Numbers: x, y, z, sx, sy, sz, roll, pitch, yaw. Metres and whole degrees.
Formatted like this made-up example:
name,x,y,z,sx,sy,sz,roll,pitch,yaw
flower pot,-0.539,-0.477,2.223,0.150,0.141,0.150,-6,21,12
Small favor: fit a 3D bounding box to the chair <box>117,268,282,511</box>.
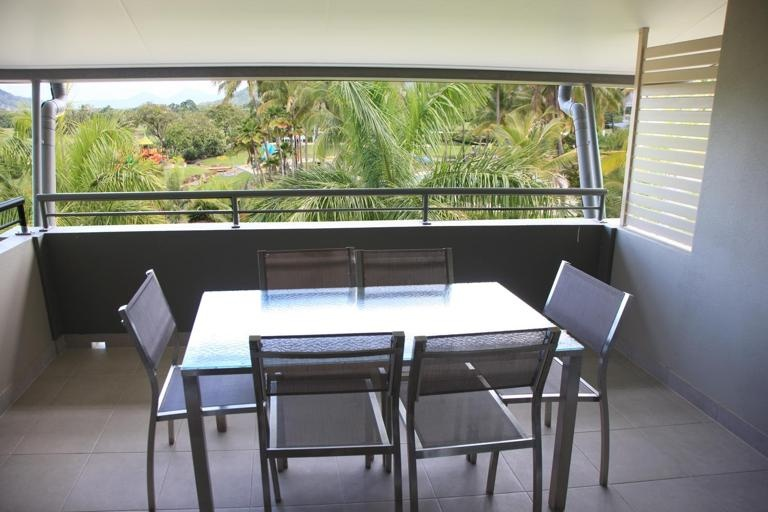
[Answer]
name,x,y,z,sx,sy,sz,roll,pitch,yaw
chair,-1.091,0.832,2.955,0.850,1.406,0.784,-1,27,-9
